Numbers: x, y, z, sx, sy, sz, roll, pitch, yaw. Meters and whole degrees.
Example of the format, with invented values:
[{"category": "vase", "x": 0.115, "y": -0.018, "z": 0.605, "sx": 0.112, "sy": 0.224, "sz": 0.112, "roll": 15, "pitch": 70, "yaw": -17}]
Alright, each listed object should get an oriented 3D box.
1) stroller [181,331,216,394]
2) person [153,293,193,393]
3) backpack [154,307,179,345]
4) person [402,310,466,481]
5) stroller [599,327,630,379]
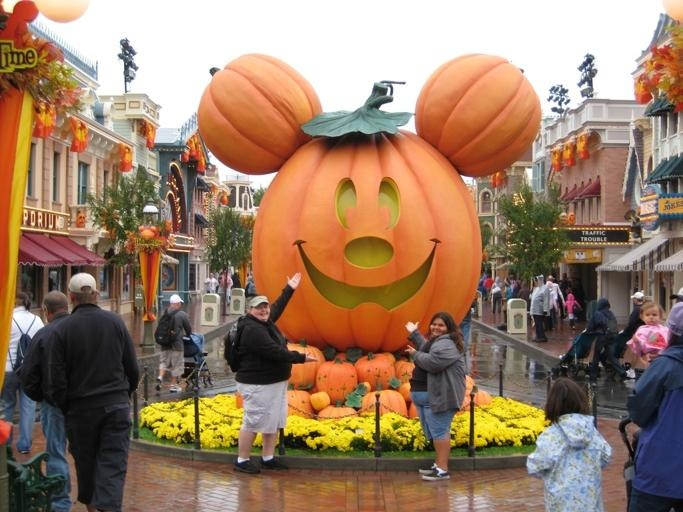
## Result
[{"category": "stroller", "x": -2.608, "y": 1.917, "z": 15.273, "sx": 0.785, "sy": 1.371, "sz": 0.820, "roll": 1, "pitch": 4, "yaw": 3}, {"category": "person", "x": -3.004, "y": 1.539, "z": 14.913, "sx": 0.670, "sy": 1.692, "sz": 0.581, "roll": 4, "pitch": 4, "yaw": 6}, {"category": "backpack", "x": -3.032, "y": 1.284, "z": 14.650, "sx": 0.365, "sy": 0.741, "sz": 0.356, "roll": 1, "pitch": 4, "yaw": -12}, {"category": "person", "x": 1.064, "y": 1.609, "z": 9.539, "sx": 0.638, "sy": 1.910, "sz": 0.478, "roll": 4, "pitch": 5, "yaw": 24}, {"category": "stroller", "x": 5.212, "y": 1.862, "z": 16.495, "sx": 0.603, "sy": 0.962, "sz": 0.970, "roll": 0, "pitch": 5, "yaw": -9}]
